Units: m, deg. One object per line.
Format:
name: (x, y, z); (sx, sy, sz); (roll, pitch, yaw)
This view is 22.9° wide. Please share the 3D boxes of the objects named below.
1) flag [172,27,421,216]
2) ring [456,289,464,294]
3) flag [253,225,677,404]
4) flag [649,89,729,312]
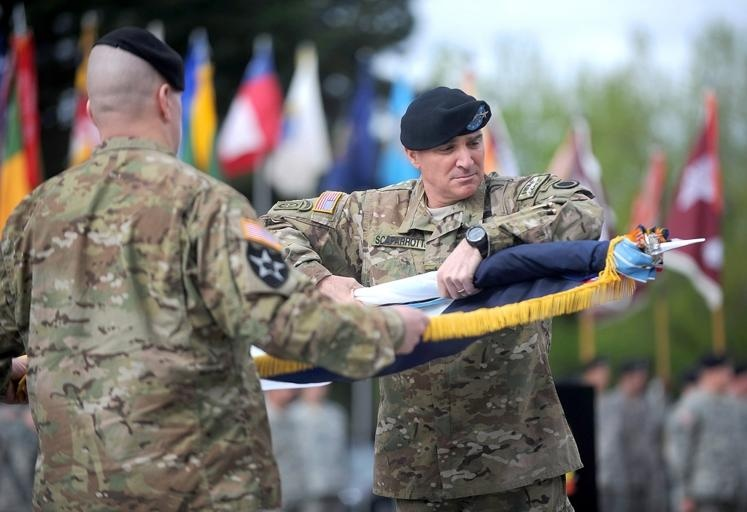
flag: (-0.683, -1.325, 18.398); (1.963, 2.134, 0.627); (2, 2, 5)
ring: (0.705, 0.286, 15.129); (0.038, 0.028, 0.038); (-1, 4, 0)
flag: (0.513, 0.300, 15.017); (4.405, 0.654, 1.335); (-13, 33, 19)
flag: (3.239, -0.612, 18.738); (0.614, 2.398, 0.217); (10, -32, 0)
